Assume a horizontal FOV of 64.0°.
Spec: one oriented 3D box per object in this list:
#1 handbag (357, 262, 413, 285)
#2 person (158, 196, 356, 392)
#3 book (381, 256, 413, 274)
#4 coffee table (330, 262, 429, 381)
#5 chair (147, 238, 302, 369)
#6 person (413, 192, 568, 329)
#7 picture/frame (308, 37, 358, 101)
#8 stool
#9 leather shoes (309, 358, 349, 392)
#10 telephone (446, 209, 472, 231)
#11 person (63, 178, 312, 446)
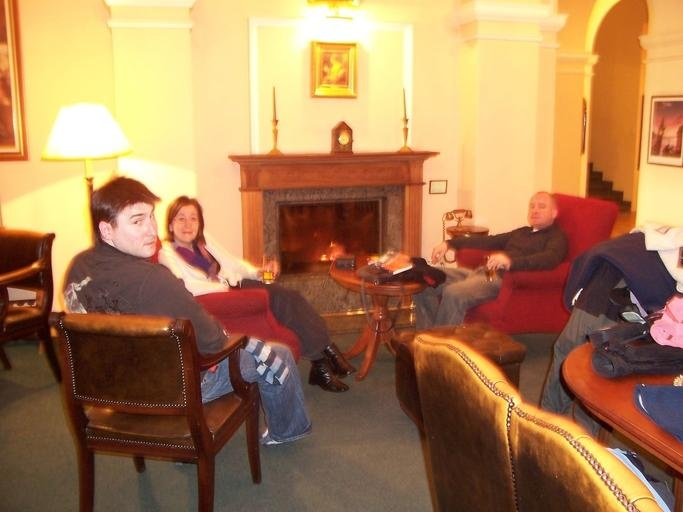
[{"bbox_3d":[0.292,0.121,3.915,0.377,0.093,0.280,6,13,35],"label":"handbag"},{"bbox_3d":[-0.586,0.275,3.724,1.256,1.500,0.677,-6,18,-1],"label":"person"},{"bbox_3d":[0.416,0.060,4.011,0.143,0.044,0.157,-10,17,-13],"label":"book"},{"bbox_3d":[0.235,0.425,4.194,0.739,0.725,0.811,0,9,-7],"label":"coffee table"},{"bbox_3d":[-0.742,0.191,3.598,0.730,0.840,0.669,-6,18,-19],"label":"chair"},{"bbox_3d":[1.206,0.123,4.438,1.060,1.280,0.954,3,3,-18],"label":"person"},{"bbox_3d":[-0.094,-1.712,4.942,0.556,0.598,0.065,-1,17,-15],"label":"picture/frame"},{"bbox_3d":[0.690,0.628,3.209,0.720,0.658,0.743,5,9,40],"label":"stool"},{"bbox_3d":[-0.072,0.807,3.867,0.333,0.243,0.140,6,12,18],"label":"leather shoes"},{"bbox_3d":[1.130,-0.350,5.240,0.206,0.155,0.088,-5,19,-6],"label":"telephone"},{"bbox_3d":[-0.607,0.282,2.818,0.837,1.170,0.630,2,16,-11],"label":"person"}]
